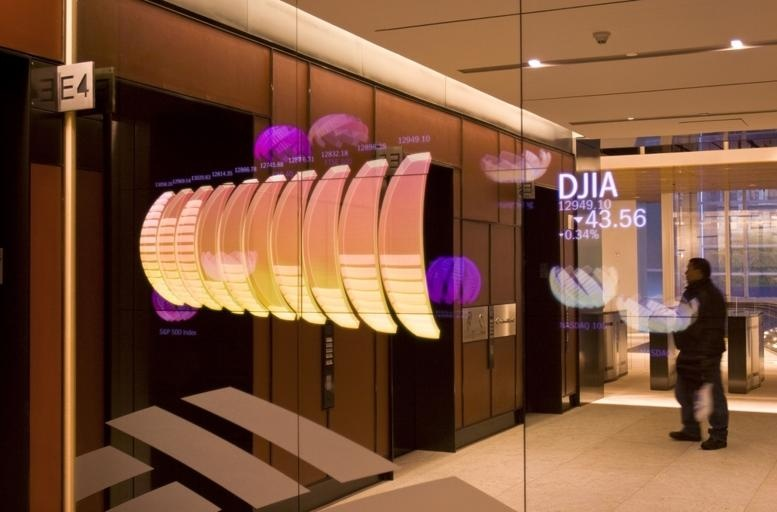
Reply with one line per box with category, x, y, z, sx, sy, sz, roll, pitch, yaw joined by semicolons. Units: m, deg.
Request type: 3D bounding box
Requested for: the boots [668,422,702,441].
boots;1.992;1.191;4.995;0.200;0.090;0.077;2;-1;24
